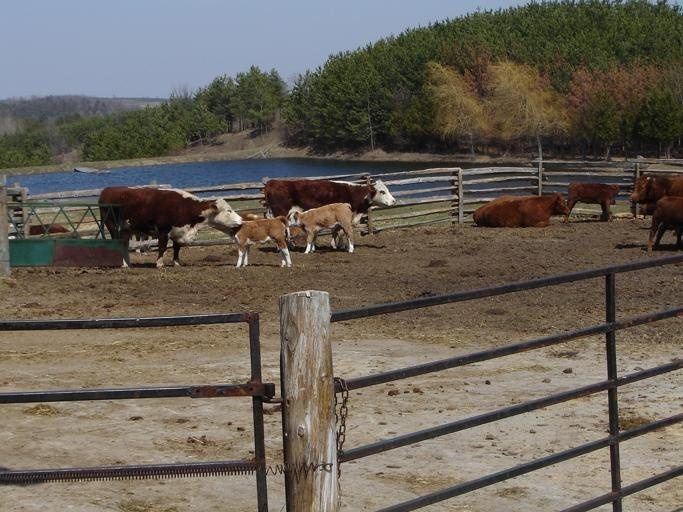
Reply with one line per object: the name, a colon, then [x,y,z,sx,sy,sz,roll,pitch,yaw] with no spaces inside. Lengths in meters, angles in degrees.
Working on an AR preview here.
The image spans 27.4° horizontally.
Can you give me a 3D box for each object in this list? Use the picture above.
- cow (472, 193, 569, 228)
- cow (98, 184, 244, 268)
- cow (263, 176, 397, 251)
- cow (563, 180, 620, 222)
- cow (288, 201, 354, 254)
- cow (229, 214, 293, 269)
cow: [5.277,-1.329,41.420,2.586,0.899,0.684,-3,6,5]
cow: [-4.617,-0.749,37.050,3.859,2.093,1.141,5,9,22]
cow: [-0.281,-1.484,39.451,4.034,1.885,1.350,-1,6,-13]
cow: [7.631,-1.689,42.763,1.533,1.165,0.875,-3,6,8]
cow: [-0.563,-0.779,38.297,1.669,1.342,1.253,-5,6,-4]
cow: [-2.593,-0.573,36.625,2.427,1.711,0.731,0,-6,7]
